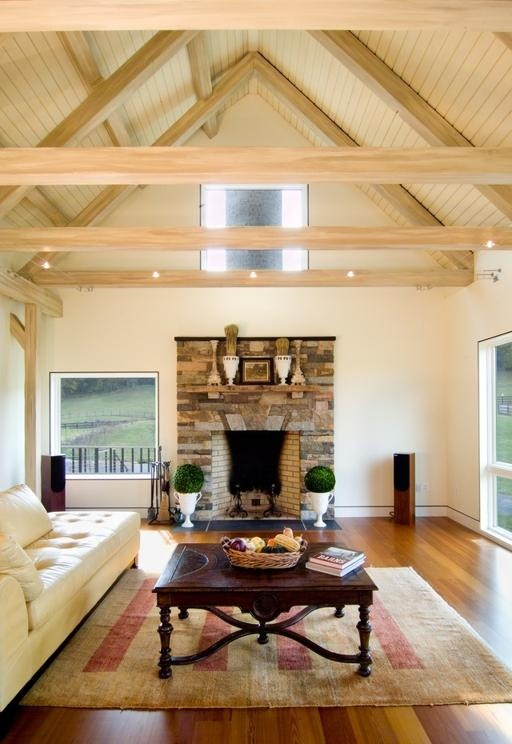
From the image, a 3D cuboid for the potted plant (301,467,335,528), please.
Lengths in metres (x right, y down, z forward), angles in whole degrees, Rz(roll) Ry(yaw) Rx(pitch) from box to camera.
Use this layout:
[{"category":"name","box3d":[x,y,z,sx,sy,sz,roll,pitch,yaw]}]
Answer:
[{"category":"potted plant","box3d":[0.650,1.319,5.862,0.308,0.609,0.238,-1,-2,41]}]

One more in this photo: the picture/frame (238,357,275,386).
[{"category":"picture/frame","box3d":[0.002,-0.001,6.268,0.302,0.271,0.031,1,-5,-2]}]

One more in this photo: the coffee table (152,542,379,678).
[{"category":"coffee table","box3d":[0.046,1.261,3.048,1.094,0.576,0.731,0,-1,0]}]

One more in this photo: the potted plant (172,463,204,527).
[{"category":"potted plant","box3d":[-0.703,1.301,5.869,0.303,0.662,0.448,0,-1,-6]}]

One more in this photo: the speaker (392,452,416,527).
[{"category":"speaker","box3d":[1.593,1.258,5.961,0.210,0.748,0.132,0,-1,11]}]

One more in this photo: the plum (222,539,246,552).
[{"category":"plum","box3d":[-0.115,0.945,3.011,0.088,0.042,0.107,3,-8,-10]}]

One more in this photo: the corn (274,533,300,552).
[{"category":"corn","box3d":[0.174,0.935,3.032,0.100,0.038,0.088,8,-6,-3]}]
